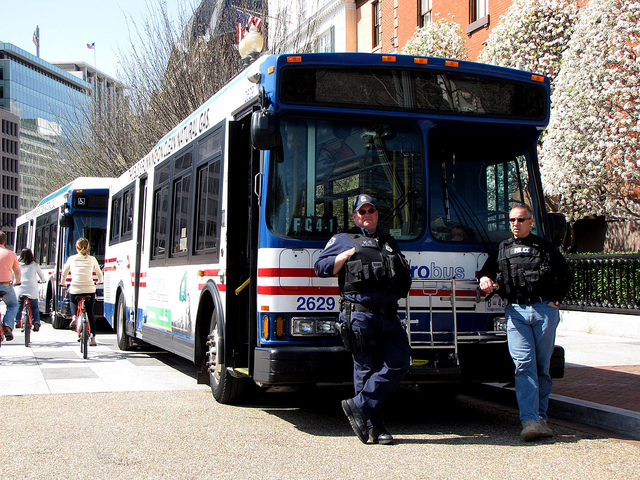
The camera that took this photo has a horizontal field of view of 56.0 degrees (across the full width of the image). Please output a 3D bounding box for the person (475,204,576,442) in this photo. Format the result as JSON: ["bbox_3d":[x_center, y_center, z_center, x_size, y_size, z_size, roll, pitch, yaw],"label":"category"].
[{"bbox_3d":[2.101,0.814,6.134,0.898,2.360,0.498,-2,-4,12],"label":"person"}]

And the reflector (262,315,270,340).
[{"bbox_3d":[-0.553,0.890,6.137,0.096,0.246,0.023,-5,-6,45],"label":"reflector"}]

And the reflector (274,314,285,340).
[{"bbox_3d":[-0.410,0.882,6.077,0.101,0.245,0.028,0,-4,-12],"label":"reflector"}]

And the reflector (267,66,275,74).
[{"bbox_3d":[-0.511,-1.777,6.260,0.007,0.076,0.147,2,-5,-36],"label":"reflector"}]

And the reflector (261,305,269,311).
[{"bbox_3d":[-0.565,0.697,6.173,0.011,0.058,0.114,3,-6,-44],"label":"reflector"}]

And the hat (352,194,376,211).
[{"bbox_3d":[0.420,-0.366,5.833,0.190,0.165,0.156,-3,-4,22],"label":"hat"}]

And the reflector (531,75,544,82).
[{"bbox_3d":[2.515,-1.880,6.967,0.089,0.024,0.085,14,-2,42],"label":"reflector"}]

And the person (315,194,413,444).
[{"bbox_3d":[0.439,0.738,5.683,0.839,2.350,0.345,-1,-4,8],"label":"person"}]

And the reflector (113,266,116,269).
[{"bbox_3d":[-4.552,0.606,13.324,0.059,0.070,0.062,1,0,-19],"label":"reflector"}]
